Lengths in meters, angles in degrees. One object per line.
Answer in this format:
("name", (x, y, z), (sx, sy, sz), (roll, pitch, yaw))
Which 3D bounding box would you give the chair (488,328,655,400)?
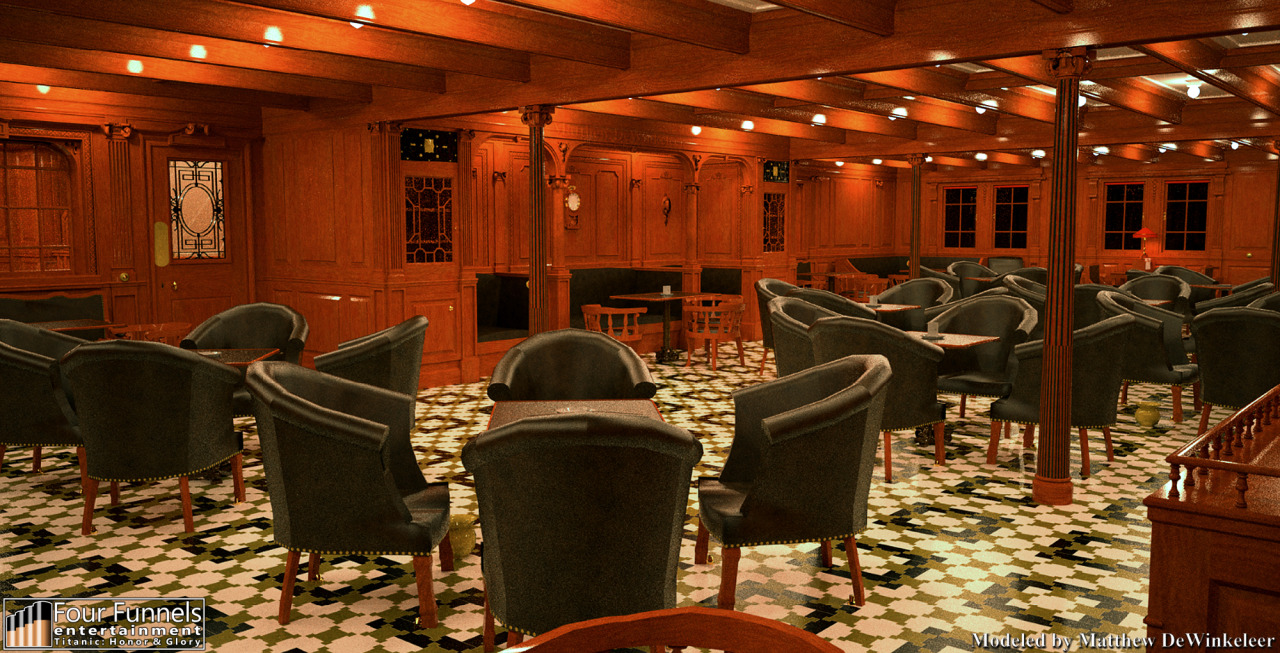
("chair", (-0.634, 0.357, 6.996), (1.343, 0.984, 0.742), (-3, 31, -6))

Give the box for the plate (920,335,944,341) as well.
("plate", (3.266, 0.128, 8.378), (0.232, 0.060, 0.339), (1, 5, 16))

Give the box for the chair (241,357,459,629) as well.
("chair", (-2.193, 1.255, 5.756), (1.391, 1.972, 0.728), (-3, 7, -11))

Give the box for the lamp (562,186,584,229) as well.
("lamp", (-1.178, -2.178, 13.724), (0.153, 0.798, 0.488), (2, 7, 30))

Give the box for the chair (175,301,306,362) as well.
("chair", (-4.479, 0.197, 8.771), (1.271, 0.825, 0.910), (1, -5, -3))
